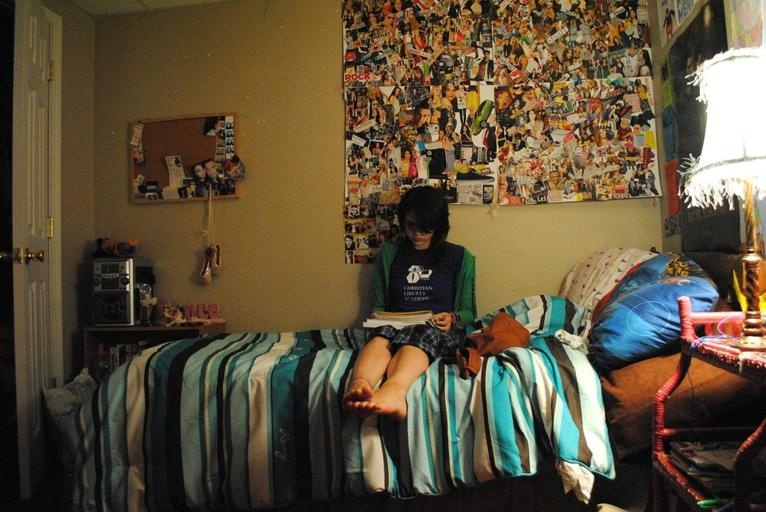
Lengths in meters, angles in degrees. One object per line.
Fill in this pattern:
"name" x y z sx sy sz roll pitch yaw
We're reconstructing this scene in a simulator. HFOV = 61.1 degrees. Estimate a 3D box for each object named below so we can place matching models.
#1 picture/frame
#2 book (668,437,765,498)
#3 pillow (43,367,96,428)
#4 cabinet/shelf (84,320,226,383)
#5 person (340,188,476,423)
"picture/frame" -1.328 -0.660 4.435 0.623 0.449 0.090 -1 3 10
"book" 1.492 0.929 2.844 0.422 0.204 0.242 -2 0 1
"pillow" -1.828 0.826 3.846 0.297 0.098 0.318 42 43 18
"cabinet/shelf" -1.539 0.628 4.222 0.710 0.436 0.370 3 2 -14
"person" 0.135 0.172 3.595 0.619 1.149 1.416 1 7 13
